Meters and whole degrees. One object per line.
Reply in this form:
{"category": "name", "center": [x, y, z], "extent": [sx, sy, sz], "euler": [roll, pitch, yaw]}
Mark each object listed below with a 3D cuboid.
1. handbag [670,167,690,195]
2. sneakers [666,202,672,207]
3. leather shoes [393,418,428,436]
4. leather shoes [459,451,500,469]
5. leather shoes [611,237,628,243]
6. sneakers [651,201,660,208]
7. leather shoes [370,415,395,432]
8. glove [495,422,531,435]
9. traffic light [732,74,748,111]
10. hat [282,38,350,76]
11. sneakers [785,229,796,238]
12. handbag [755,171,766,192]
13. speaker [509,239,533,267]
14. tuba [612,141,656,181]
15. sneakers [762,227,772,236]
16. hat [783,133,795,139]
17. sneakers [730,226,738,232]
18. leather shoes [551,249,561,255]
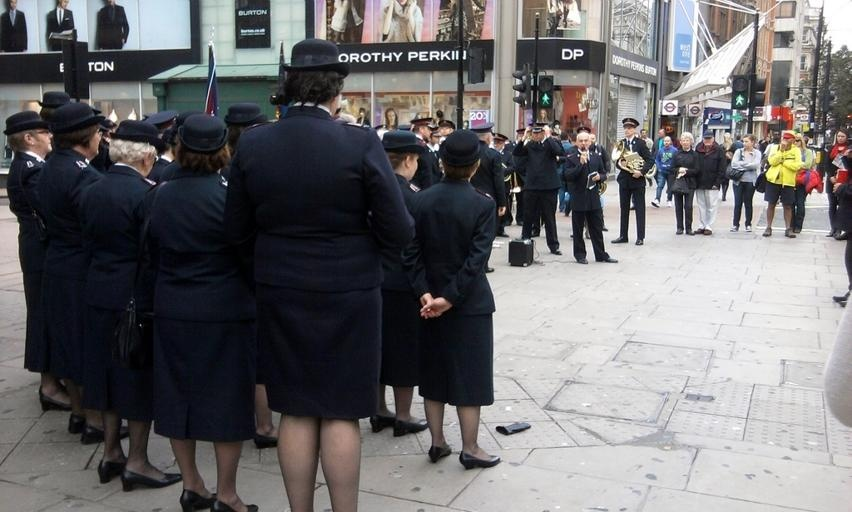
{"category": "handbag", "center": [5.776, -1.698, 17.859], "extent": [0.415, 0.572, 0.404], "euler": [3, 11, 17]}
{"category": "sneakers", "center": [7.315, -1.553, 23.856], "extent": [0.119, 0.135, 0.347], "euler": [-2, -1, 22]}
{"category": "leather shoes", "center": [-0.157, 1.740, 8.143], "extent": [0.160, 0.125, 0.322], "euler": [3, 4, 40]}
{"category": "leather shoes", "center": [0.517, 1.915, 7.602], "extent": [0.323, 0.140, 0.155], "euler": [-6, 3, -13]}
{"category": "leather shoes", "center": [4.139, -0.338, 16.939], "extent": [0.351, 0.135, 0.117], "euler": [4, 4, 10]}
{"category": "sneakers", "center": [6.802, -1.527, 23.477], "extent": [0.147, 0.147, 0.335], "euler": [-6, -13, 40]}
{"category": "leather shoes", "center": [-0.442, 1.718, 8.189], "extent": [0.120, 0.133, 0.344], "euler": [2, 6, 29]}
{"category": "glove", "center": [0.905, 1.739, 8.073], "extent": [0.242, 0.070, 0.139], "euler": [-4, 0, -37]}
{"category": "traffic light", "center": [11.398, -5.927, 28.771], "extent": [0.473, 1.153, 0.599], "euler": [5, 12, 27]}
{"category": "hat", "center": [-0.924, -1.649, 6.599], "extent": [0.580, 0.239, 0.685], "euler": [2, 9, 14]}
{"category": "sneakers", "center": [8.140, -0.518, 17.712], "extent": [0.141, 0.167, 0.412], "euler": [4, 13, 25]}
{"category": "handbag", "center": [7.651, -1.686, 18.081], "extent": [0.190, 0.418, 0.482], "euler": [-1, 11, -6]}
{"category": "speaker", "center": [1.738, -0.074, 14.484], "extent": [0.480, 0.469, 0.474], "euler": [4, 4, 22]}
{"category": "tuba", "center": [4.181, -1.966, 16.438], "extent": [0.550, 0.581, 0.837], "euler": [-1, 11, -7]}
{"category": "sneakers", "center": [7.676, -0.529, 17.850], "extent": [0.124, 0.155, 0.402], "euler": [1, 1, 36]}
{"category": "hat", "center": [7.978, -2.653, 17.455], "extent": [0.147, 0.150, 0.603], "euler": [7, 13, 33]}
{"category": "sneakers", "center": [7.190, -0.626, 18.504], "extent": [0.090, 0.097, 0.237], "euler": [3, 4, 43]}
{"category": "leather shoes", "center": [2.610, -0.084, 15.722], "extent": [0.218, 0.095, 0.259], "euler": [-1, 11, -7]}
